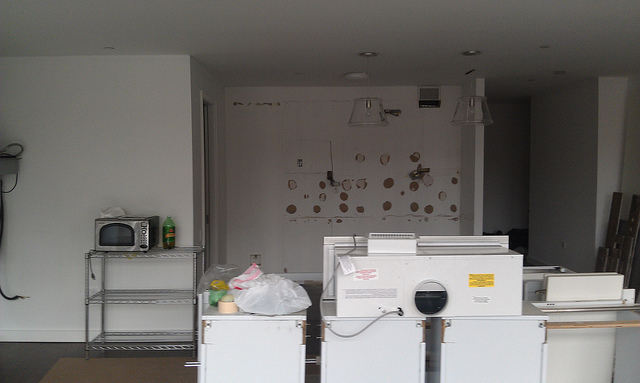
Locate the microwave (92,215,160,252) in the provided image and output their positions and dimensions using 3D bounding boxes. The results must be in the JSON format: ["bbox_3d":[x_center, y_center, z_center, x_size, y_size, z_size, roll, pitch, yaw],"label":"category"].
[{"bbox_3d":[-2.502,0.553,7.393,0.917,0.419,0.910,2,2,31],"label":"microwave"}]

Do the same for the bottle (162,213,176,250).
[{"bbox_3d":[-1.997,0.531,7.349,0.162,0.480,0.156,0,-4,0],"label":"bottle"}]

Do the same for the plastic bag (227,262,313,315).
[{"bbox_3d":[-0.534,1.011,5.735,0.846,0.494,0.262,0,-4,-5],"label":"plastic bag"}]
